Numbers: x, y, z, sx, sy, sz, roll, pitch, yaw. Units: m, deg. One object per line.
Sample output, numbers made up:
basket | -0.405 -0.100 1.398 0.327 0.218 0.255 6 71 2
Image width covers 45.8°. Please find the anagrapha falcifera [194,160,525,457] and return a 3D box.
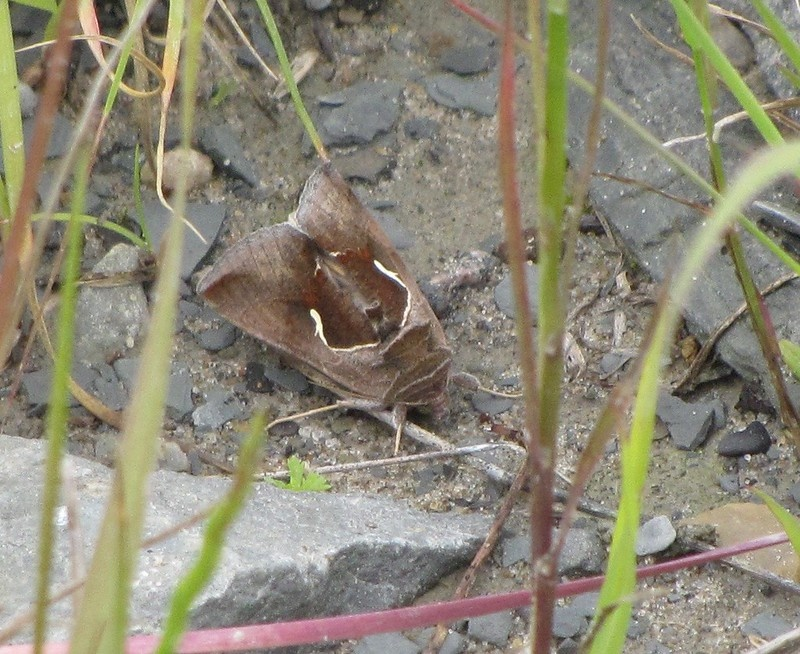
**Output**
anagrapha falcifera | -0.193 -0.007 2.565 0.509 0.438 0.725 -35 72 -18
